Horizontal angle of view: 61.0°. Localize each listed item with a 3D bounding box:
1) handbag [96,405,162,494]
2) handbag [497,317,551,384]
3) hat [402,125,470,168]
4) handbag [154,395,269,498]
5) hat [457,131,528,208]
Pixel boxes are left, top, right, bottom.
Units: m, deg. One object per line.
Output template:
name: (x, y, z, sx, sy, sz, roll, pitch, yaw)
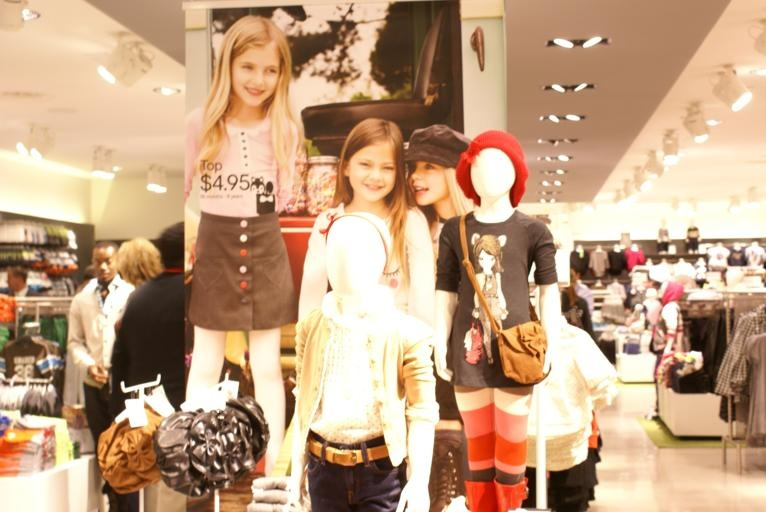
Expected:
handbag: (-1.924, 1.615, 4.990, 0.427, 0.570, 0.249, 7, 30, -9)
handbag: (0.869, 0.641, 4.324, 0.304, 0.393, 0.374, -4, -4, -17)
hat: (0.439, -0.891, 5.286, 0.418, 0.161, 0.312, 20, -20, -36)
handbag: (-1.035, 1.329, 4.463, 0.508, 0.329, 0.663, -14, 23, 37)
hat: (0.800, -0.692, 4.628, 0.448, 0.555, 0.402, -3, 23, 16)
